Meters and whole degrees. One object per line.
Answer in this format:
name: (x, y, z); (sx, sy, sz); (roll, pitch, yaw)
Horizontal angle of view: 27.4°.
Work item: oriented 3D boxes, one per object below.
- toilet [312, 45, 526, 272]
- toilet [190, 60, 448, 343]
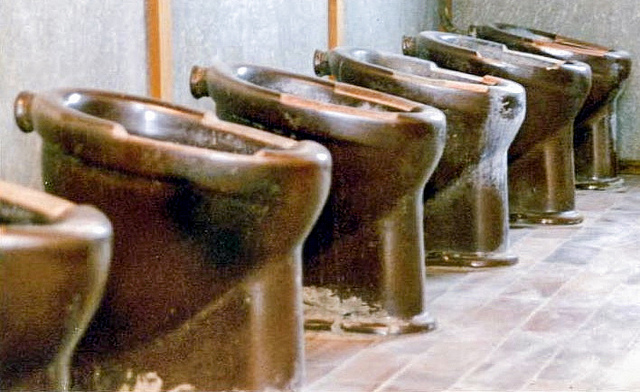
toilet: (0.570, -0.112, 5.107); (1.003, 0.862, 0.770); (1, 8, 19)
toilet: (-0.054, 0.060, 4.783); (1.039, 0.859, 0.732); (-4, 2, 5)
